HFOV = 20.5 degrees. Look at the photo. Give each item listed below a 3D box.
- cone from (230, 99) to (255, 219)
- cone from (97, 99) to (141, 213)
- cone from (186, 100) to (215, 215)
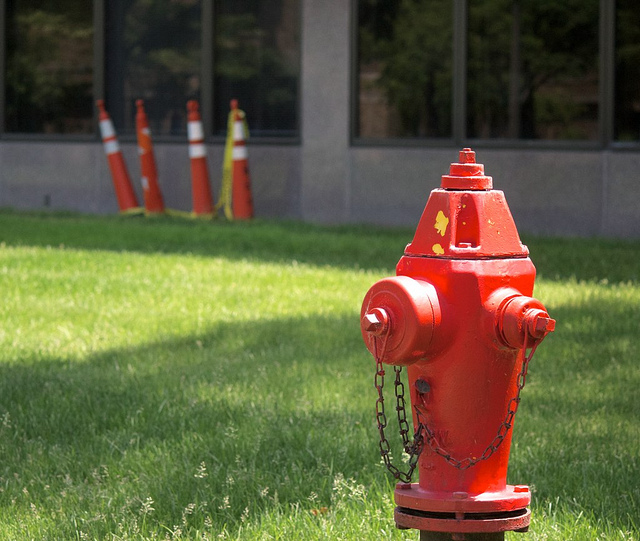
[{"bbox_3d":[-0.429,-0.562,9.445,0.111,0.591,0.221,-6,-5,4],"label":"cone"},{"bbox_3d":[-1.043,-0.602,9.131,0.184,0.585,0.065,-1,-7,-44],"label":"cone"},{"bbox_3d":[-0.641,-0.607,9.356,0.111,0.629,0.118,-5,-5,-4],"label":"cone"}]
